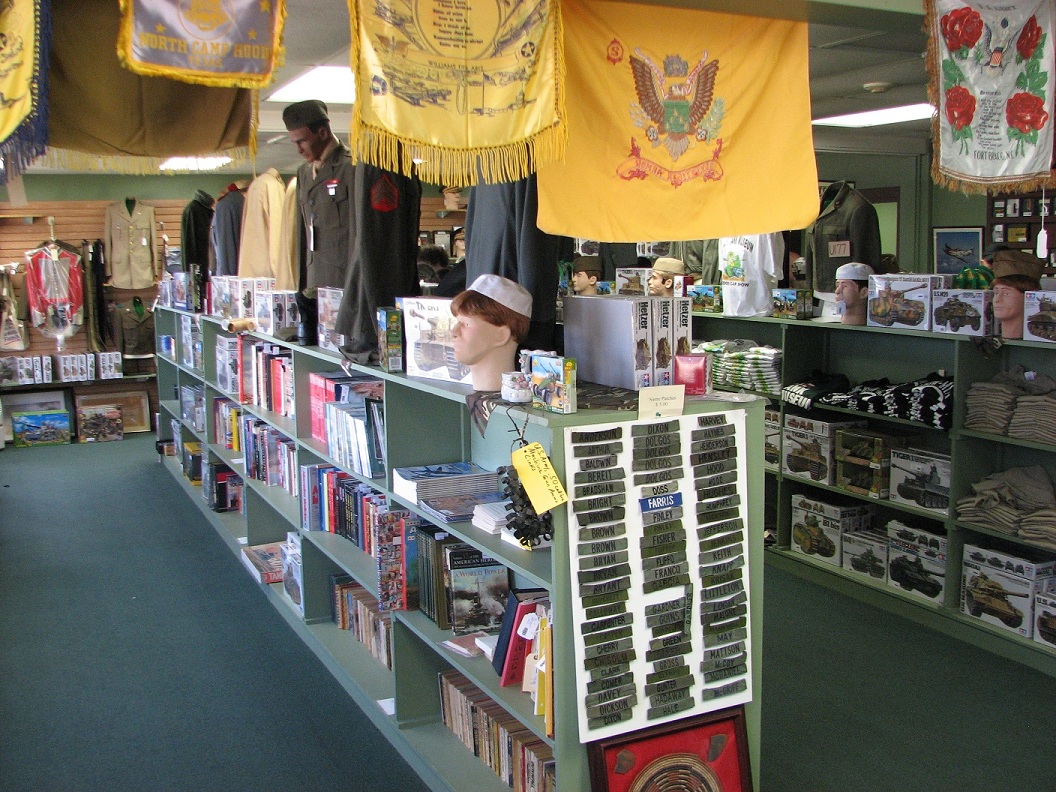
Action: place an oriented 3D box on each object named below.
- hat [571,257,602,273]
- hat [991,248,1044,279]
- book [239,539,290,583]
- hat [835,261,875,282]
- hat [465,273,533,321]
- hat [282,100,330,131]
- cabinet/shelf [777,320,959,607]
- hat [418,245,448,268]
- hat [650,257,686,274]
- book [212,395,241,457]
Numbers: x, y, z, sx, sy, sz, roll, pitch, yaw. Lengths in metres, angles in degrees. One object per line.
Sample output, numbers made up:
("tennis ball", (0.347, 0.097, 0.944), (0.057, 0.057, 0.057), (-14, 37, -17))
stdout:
("hat", (0.398, -0.866, 5.569), (0.121, 0.088, 0.125), (-5, 13, -30))
("hat", (2.738, -0.736, 4.702), (0.212, 0.133, 0.163), (-1, 9, -19))
("book", (-1.868, 1.188, 6.021), (0.390, 0.097, 0.412), (-4, 13, -34))
("hat", (2.218, -0.839, 5.703), (0.298, 0.135, 0.303), (1, 3, 18))
("hat", (-0.101, -0.396, 3.279), (0.180, 0.058, 0.189), (23, 4, -18))
("hat", (-1.272, -1.621, 4.885), (0.164, 0.108, 0.224), (10, 20, 32))
("cabinet/shelf", (2.235, 0.447, 5.450), (0.545, 1.571, 1.694), (-1, 7, -25))
("hat", (-0.833, -1.235, 7.389), (0.211, 0.178, 0.224), (-10, 15, 10))
("hat", (1.034, -0.952, 6.176), (0.177, 0.089, 0.179), (1, 4, 3))
("book", (-2.525, 0.261, 7.058), (0.271, 0.477, 0.495), (-2, 8, -26))
